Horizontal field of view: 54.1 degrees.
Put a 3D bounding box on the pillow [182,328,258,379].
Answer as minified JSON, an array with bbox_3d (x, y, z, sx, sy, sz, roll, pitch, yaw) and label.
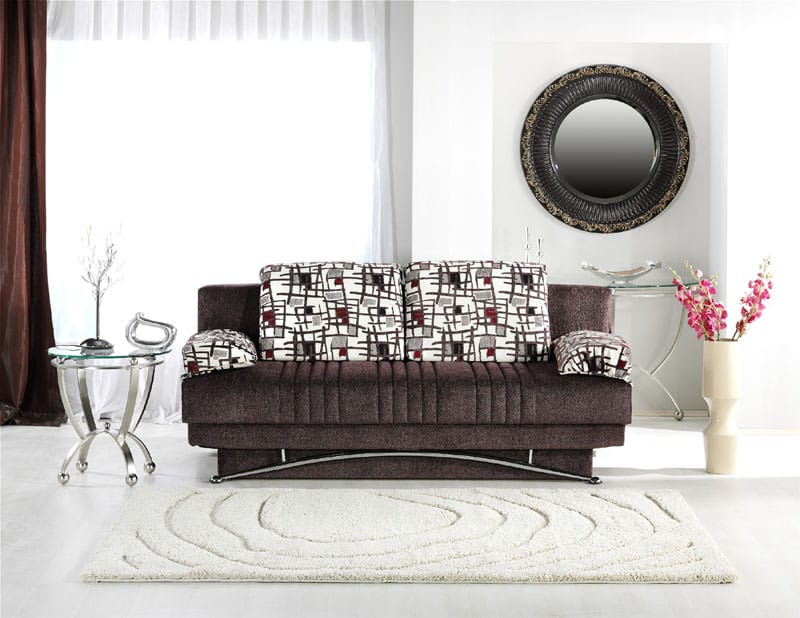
[{"bbox_3d":[-0.954,0.225,4.095,0.250,0.089,0.276,-4,26,-12],"label":"pillow"}]

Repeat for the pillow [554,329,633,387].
[{"bbox_3d":[0.989,0.239,4.042,0.271,0.098,0.301,-2,32,13],"label":"pillow"}]

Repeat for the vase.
[{"bbox_3d":[1.722,0.514,4.217,0.192,0.698,0.197,2,11,11],"label":"vase"}]

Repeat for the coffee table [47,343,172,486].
[{"bbox_3d":[-1.605,0.576,4.286,0.583,0.723,0.583,1,-3,-38],"label":"coffee table"}]
